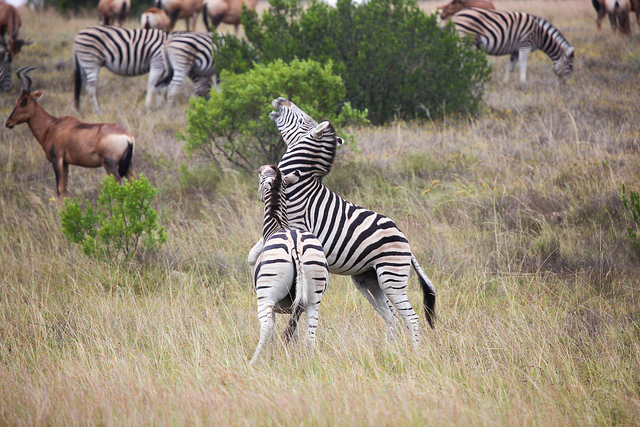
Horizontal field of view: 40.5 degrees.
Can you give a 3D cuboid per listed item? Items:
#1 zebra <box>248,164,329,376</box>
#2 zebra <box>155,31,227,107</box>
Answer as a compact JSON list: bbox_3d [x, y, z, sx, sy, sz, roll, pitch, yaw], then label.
[{"bbox_3d":[-0.587,0.753,14.718,0.957,3.022,3.702,1,25,-11],"label":"zebra"},{"bbox_3d":[-3.191,-3.900,22.749,0.744,2.068,3.096,4,14,29],"label":"zebra"}]
